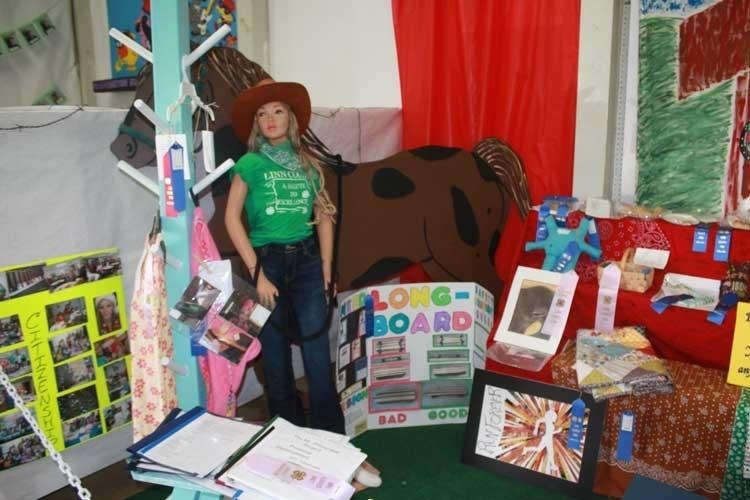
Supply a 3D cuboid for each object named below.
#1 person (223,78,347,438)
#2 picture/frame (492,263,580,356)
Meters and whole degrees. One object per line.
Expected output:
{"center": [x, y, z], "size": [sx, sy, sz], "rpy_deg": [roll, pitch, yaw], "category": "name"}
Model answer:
{"center": [-0.463, 0.086, 2.960], "size": [0.571, 1.868, 0.542], "rpy_deg": [-5, 14, -11], "category": "person"}
{"center": [0.890, 0.334, 3.041], "size": [0.405, 0.532, 0.030], "rpy_deg": [14, -17, 22], "category": "picture/frame"}
